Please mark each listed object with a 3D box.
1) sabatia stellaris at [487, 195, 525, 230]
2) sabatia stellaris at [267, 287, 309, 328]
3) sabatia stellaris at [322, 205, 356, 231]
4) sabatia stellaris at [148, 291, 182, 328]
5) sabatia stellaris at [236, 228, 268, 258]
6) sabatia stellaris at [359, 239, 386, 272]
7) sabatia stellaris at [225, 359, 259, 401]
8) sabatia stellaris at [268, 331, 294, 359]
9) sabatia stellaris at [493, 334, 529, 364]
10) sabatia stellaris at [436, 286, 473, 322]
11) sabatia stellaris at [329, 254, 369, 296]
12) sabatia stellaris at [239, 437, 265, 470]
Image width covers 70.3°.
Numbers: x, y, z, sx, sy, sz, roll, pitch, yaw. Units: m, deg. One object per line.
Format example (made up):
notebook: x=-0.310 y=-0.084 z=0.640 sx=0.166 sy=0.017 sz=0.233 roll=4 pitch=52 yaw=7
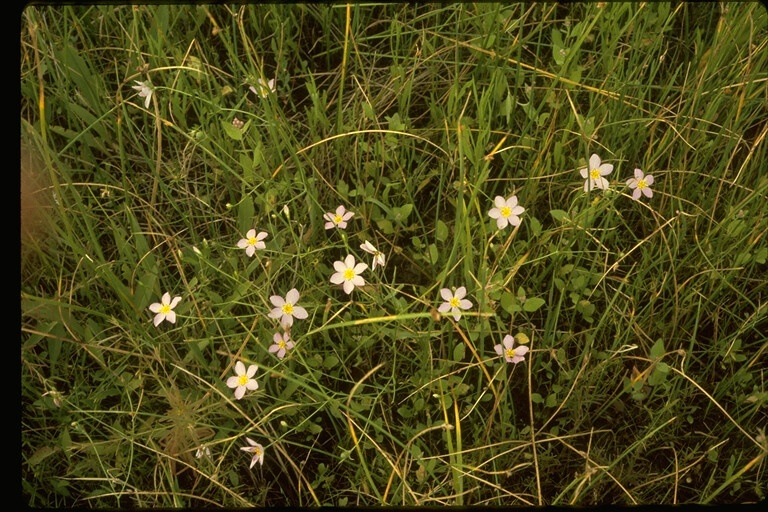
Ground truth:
sabatia stellaris: x=0.352 y=-0.122 z=1.589 sx=0.096 sy=0.075 sz=0.112 roll=13 pitch=47 yaw=15
sabatia stellaris: x=-0.282 y=0.154 z=1.579 sx=0.112 sy=0.095 sz=0.093 roll=-11 pitch=45 yaw=-9
sabatia stellaris: x=-0.134 y=-0.109 z=1.611 sx=0.093 sy=0.065 sz=0.060 roll=-33 pitch=52 yaw=-27
sabatia stellaris: x=-0.646 y=0.153 z=1.603 sx=0.092 sy=0.070 sz=0.085 roll=8 pitch=46 yaw=11
sabatia stellaris: x=-0.385 y=-0.039 z=1.604 sx=0.076 sy=0.024 sz=0.086 roll=0 pitch=84 yaw=14
sabatia stellaris: x=-0.023 y=-0.012 z=1.576 sx=0.076 sy=0.071 sz=0.035 roll=42 pitch=65 yaw=1
sabatia stellaris: x=-0.411 y=0.365 z=1.585 sx=0.093 sy=0.083 sz=0.082 roll=6 pitch=45 yaw=9
sabatia stellaris: x=-0.299 y=0.256 z=1.573 sx=0.067 sy=0.078 sz=0.021 roll=2 pitch=2 yaw=18
sabatia stellaris: x=0.366 y=0.274 z=1.580 sx=0.077 sy=0.092 sz=0.027 roll=-3 pitch=3 yaw=-5
sabatia stellaris: x=0.202 y=0.126 z=1.552 sx=0.098 sy=0.057 sz=0.074 roll=4 pitch=45 yaw=7
sabatia stellaris: x=-0.103 y=0.051 z=1.572 sx=0.098 sy=0.028 sz=0.116 roll=2 pitch=79 yaw=7
sabatia stellaris: x=-0.372 y=0.568 z=1.606 sx=0.075 sy=0.091 sz=0.043 roll=-23 pitch=2 yaw=37
